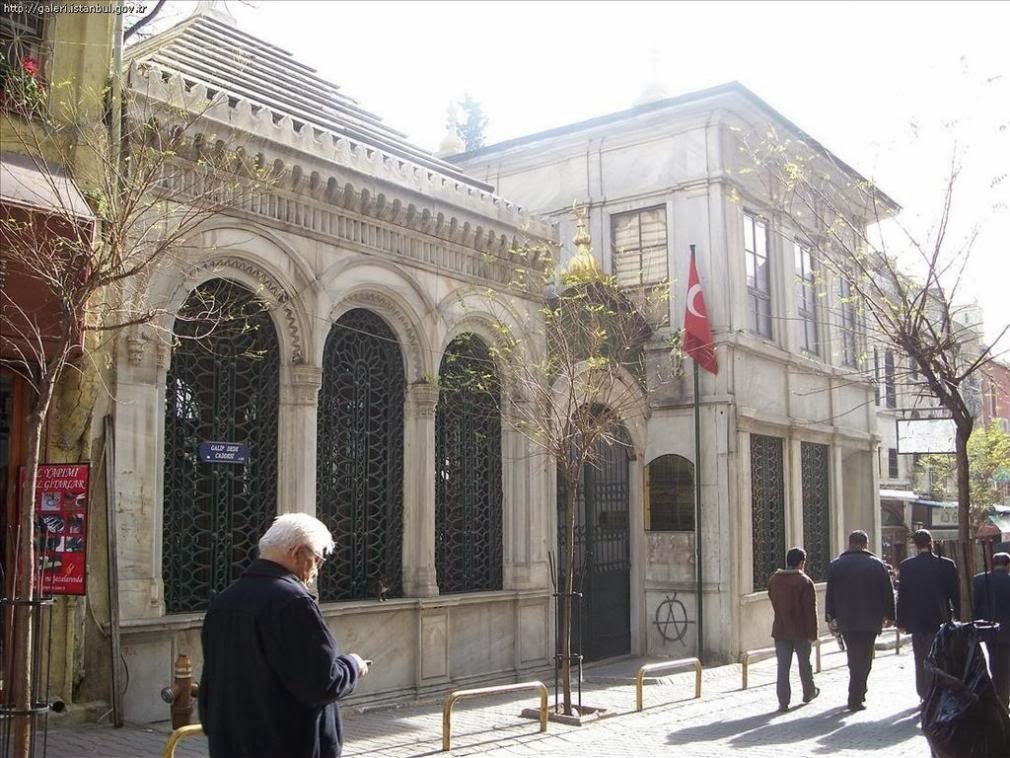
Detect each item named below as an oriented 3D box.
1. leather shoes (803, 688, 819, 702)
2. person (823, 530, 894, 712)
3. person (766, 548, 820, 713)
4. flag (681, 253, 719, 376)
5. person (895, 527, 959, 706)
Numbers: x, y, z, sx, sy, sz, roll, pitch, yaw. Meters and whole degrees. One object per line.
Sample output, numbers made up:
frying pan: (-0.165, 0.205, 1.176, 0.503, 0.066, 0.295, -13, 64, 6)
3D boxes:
leather shoes: (4.057, 4.148, 14.170, 0.118, 0.164, 0.354, -3, 3, 39)
person: (4.505, 3.006, 13.474, 0.848, 2.210, 0.461, -6, -14, 18)
person: (3.751, 3.189, 13.815, 0.579, 2.081, 0.932, -5, -14, 14)
flag: (3.397, -1.266, 18.882, 0.532, 2.525, 0.321, 3, -32, 0)
person: (4.993, 2.730, 12.530, 0.660, 1.956, 1.150, -5, -14, 12)
